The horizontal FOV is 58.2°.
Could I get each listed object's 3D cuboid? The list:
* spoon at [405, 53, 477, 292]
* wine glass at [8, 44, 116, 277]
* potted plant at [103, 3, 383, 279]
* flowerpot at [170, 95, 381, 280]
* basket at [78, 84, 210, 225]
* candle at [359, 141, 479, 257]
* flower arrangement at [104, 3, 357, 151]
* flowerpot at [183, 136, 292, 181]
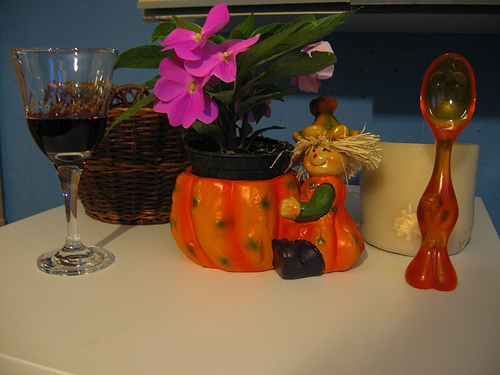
[{"bbox_3d":[0.272,-0.024,0.645,0.072,0.324,0.108,5,15,20],"label":"spoon"},{"bbox_3d":[-0.279,-0.041,0.684,0.133,0.328,0.109,4,14,14],"label":"wine glass"},{"bbox_3d":[-0.016,-0.028,0.804,0.405,0.427,0.395,-3,6,-27],"label":"potted plant"},{"bbox_3d":[0.038,0.000,0.700,0.288,0.257,0.171,2,8,6],"label":"flowerpot"},{"bbox_3d":[-0.174,-0.042,0.901,0.266,0.238,0.242,11,-9,5],"label":"basket"},{"bbox_3d":[0.267,0.019,0.775,0.170,0.170,0.180,0,4,0],"label":"candle"},{"bbox_3d":[-0.049,-0.159,0.687,0.326,0.209,0.267,-4,15,-19],"label":"flower arrangement"},{"bbox_3d":[-0.025,-0.052,0.726,0.168,0.060,0.165,-6,20,-30],"label":"flowerpot"}]
